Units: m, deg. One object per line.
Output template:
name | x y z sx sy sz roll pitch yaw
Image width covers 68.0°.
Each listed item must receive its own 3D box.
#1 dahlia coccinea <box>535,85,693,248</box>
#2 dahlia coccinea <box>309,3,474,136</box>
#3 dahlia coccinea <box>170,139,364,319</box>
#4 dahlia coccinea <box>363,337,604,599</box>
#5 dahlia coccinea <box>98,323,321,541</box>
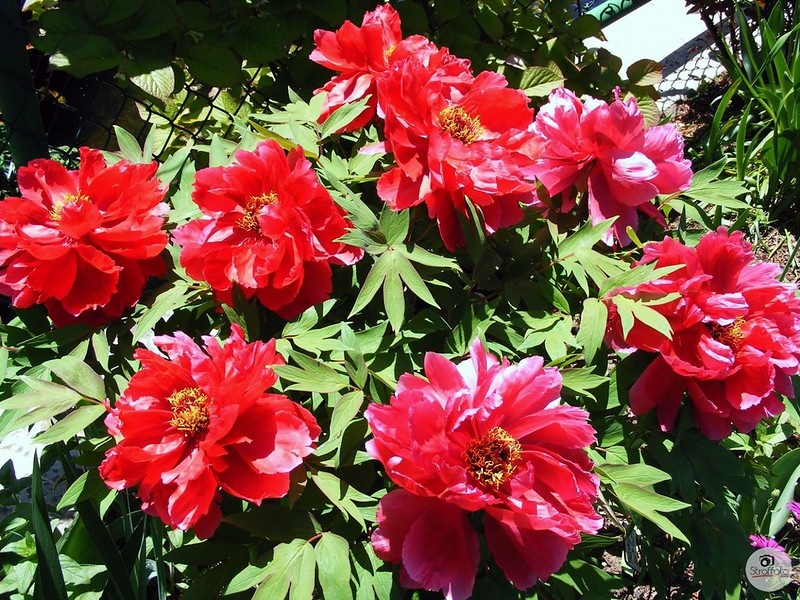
dahlia coccinea | 0.504 -0.354 1.465 0.370 0.242 0.353 -12 15 -29
dahlia coccinea | -0.013 -0.502 1.494 0.324 0.141 0.356 -15 28 10
dahlia coccinea | -0.358 -0.229 1.359 0.414 0.222 0.432 -25 32 -20
dahlia coccinea | 0.152 0.278 1.144 0.433 0.505 0.216 11 -3 -13
dahlia coccinea | -0.441 0.243 1.257 0.426 0.228 0.475 -21 15 4
